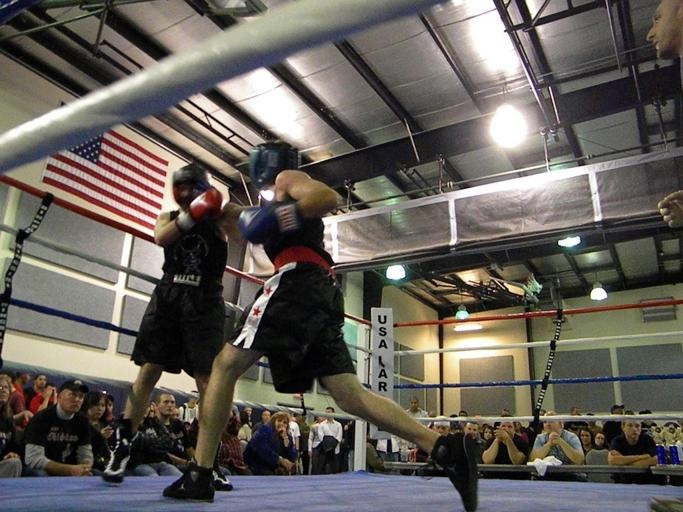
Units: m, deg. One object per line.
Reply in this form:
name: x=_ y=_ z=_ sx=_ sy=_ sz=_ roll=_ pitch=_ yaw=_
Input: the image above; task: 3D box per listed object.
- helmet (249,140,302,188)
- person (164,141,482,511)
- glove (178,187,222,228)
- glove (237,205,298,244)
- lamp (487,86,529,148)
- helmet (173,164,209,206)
helmet: x=-0.297 y=-0.369 z=1.929 sx=0.170 sy=0.188 sz=0.212 roll=1 pitch=-8 yaw=5
person: x=-0.062 y=0.170 z=1.673 sx=0.950 sy=1.305 sz=0.463 roll=5 pitch=-23 yaw=-5
glove: x=-0.574 y=-0.195 z=1.986 sx=0.200 sy=0.137 sz=0.075 roll=-25 pitch=-29 yaw=10
glove: x=-0.252 y=-0.128 z=1.615 sx=0.246 sy=0.136 sz=0.085 roll=-16 pitch=-29 yaw=41
lamp: x=1.980 y=-1.578 z=5.601 sx=0.354 sy=0.346 sz=0.476 roll=-9 pitch=-24 yaw=28
helmet: x=-0.675 y=-0.328 z=2.260 sx=0.170 sy=0.167 sz=0.204 roll=-3 pitch=-23 yaw=-4
